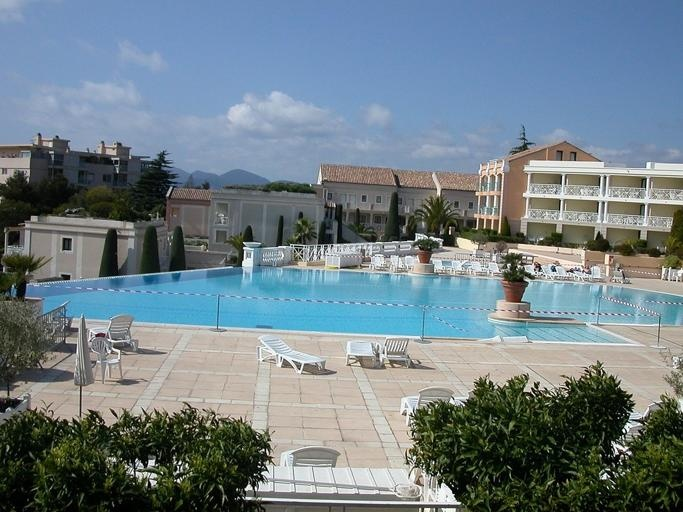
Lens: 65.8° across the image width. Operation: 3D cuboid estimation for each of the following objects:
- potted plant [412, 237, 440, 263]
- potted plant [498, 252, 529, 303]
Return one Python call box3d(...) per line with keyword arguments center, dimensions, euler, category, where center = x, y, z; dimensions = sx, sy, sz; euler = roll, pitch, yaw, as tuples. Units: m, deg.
box3d(center=(5.292, -0.343, 32.106), dimensions=(1.554, 1.474, 1.511), euler=(0, -1, -29), category="potted plant")
box3d(center=(6.942, 0.868, 20.974), dimensions=(1.097, 1.957, 1.136), euler=(6, 6, 17), category="potted plant")
